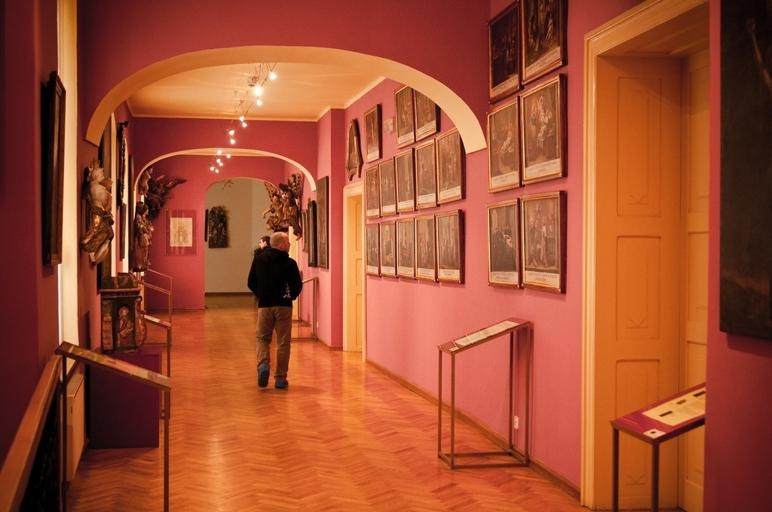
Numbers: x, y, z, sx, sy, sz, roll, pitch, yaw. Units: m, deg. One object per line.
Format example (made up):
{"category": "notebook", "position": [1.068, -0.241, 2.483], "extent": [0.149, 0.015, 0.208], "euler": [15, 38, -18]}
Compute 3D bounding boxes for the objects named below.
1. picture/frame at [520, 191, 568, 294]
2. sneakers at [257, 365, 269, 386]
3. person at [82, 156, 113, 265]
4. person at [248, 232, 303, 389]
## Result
{"category": "picture/frame", "position": [1.531, -0.141, 5.828], "extent": [0.115, 1.211, 0.901], "euler": [2, -4, -19]}
{"category": "sneakers", "position": [-1.796, 1.750, 8.939], "extent": [0.148, 0.309, 0.286], "euler": [3, 8, -11]}
{"category": "person", "position": [-3.082, -0.451, 6.486], "extent": [0.298, 1.114, 0.611], "euler": [-1, 2, -26]}
{"category": "person", "position": [-1.623, 0.790, 9.019], "extent": [0.819, 2.270, 0.546], "euler": [1, 2, 30]}
